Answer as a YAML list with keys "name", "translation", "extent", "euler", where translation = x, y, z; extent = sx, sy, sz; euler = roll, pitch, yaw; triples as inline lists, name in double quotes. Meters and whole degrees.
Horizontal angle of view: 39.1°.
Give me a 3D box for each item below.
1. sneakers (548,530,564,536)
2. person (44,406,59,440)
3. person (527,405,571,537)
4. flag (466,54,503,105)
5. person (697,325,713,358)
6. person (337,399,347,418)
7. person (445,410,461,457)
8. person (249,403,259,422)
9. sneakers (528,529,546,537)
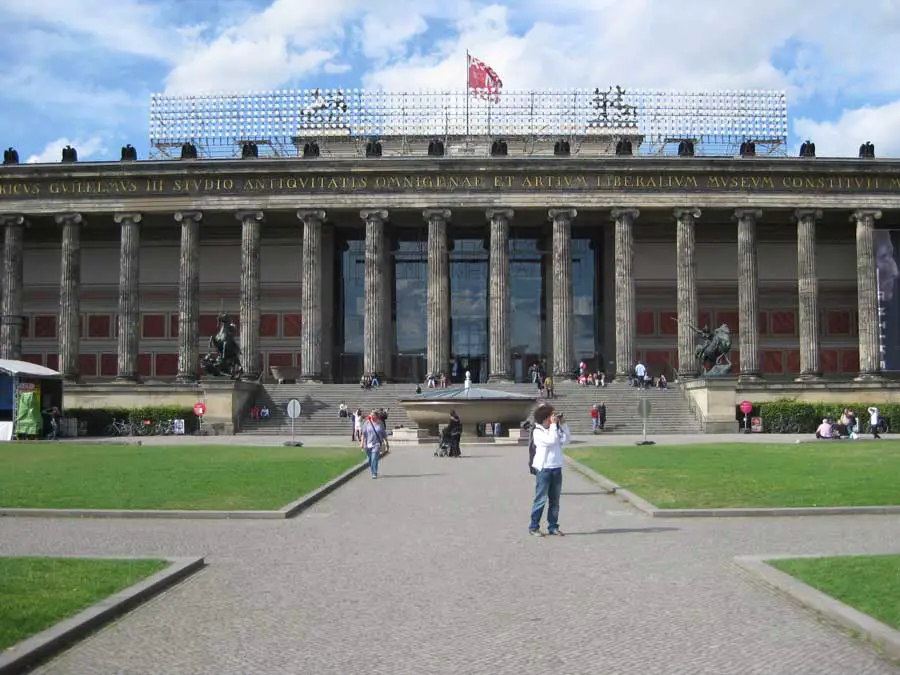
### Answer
- name: "sneakers"
  translation: [2.545, 4.722, 30.517]
  extent: [0.407, 0.175, 0.138]
  euler: [-7, -2, 25]
- name: "person"
  translation: [-19.797, 4.180, 62.809]
  extent: [0.740, 1.549, 1.215]
  euler: [0, -4, -13]
- name: "person"
  translation: [2.335, 3.196, 30.758]
  extent: [0.726, 3.166, 0.963]
  euler: [-4, -5, 34]
- name: "flag"
  translation: [2.171, -16.923, 83.018]
  extent: [1.974, 2.805, 2.740]
  euler: [-2, -4, 6]
- name: "person"
  translation: [14.400, 0.298, 71.654]
  extent: [0.669, 1.716, 1.076]
  euler: [17, -4, -38]
- name: "person"
  translation: [-5.897, 3.908, 68.958]
  extent: [0.721, 1.049, 0.448]
  euler: [3, 9, 24]
- name: "person"
  translation: [0.153, 3.884, 49.607]
  extent: [0.455, 1.546, 1.362]
  euler: [-1, -4, 0]
- name: "person"
  translation: [-10.931, 4.119, 70.254]
  extent: [0.441, 0.901, 1.310]
  euler: [-1, -4, -9]
- name: "sneakers"
  translation: [2.087, 4.698, 30.411]
  extent: [0.164, 0.161, 0.377]
  euler: [3, -8, -38]
